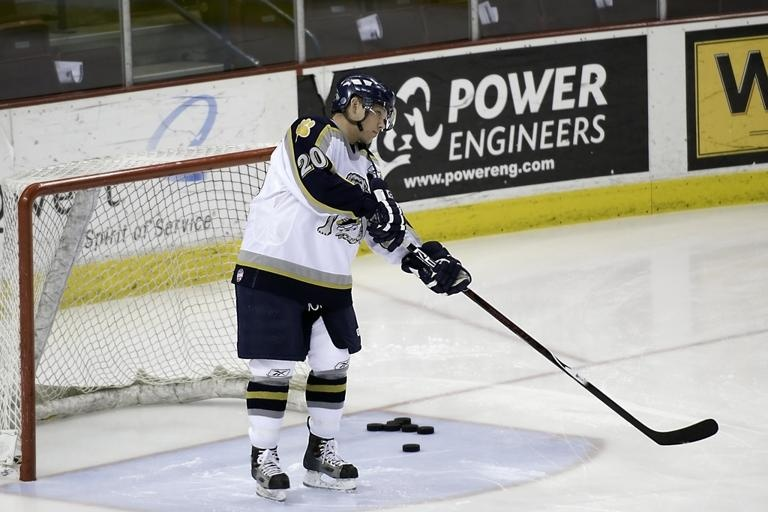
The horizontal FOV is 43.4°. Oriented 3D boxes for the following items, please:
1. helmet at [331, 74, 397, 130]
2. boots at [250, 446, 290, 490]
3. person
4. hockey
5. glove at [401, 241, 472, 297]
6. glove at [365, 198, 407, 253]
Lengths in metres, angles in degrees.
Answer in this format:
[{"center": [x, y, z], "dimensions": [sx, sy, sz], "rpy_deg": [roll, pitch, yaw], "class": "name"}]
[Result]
[{"center": [-0.077, -0.715, 4.402], "dimensions": [0.296, 0.232, 0.237], "rpy_deg": [10, 16, 17], "class": "helmet"}, {"center": [-0.541, 0.965, 4.401], "dimensions": [0.105, 0.158, 0.283], "rpy_deg": [5, 1, -33], "class": "boots"}, {"center": [-0.222, 0.136, 4.405], "dimensions": [0.941, 1.888, 0.267], "rpy_deg": [-5, 5, -10], "class": "person"}, {"center": [1.011, 0.526, 5.561], "dimensions": [1.400, 0.283, 0.199], "rpy_deg": [39, -15, 17], "class": "hockey"}, {"center": [0.246, 0.046, 4.567], "dimensions": [0.323, 0.198, 0.136], "rpy_deg": [39, 5, -2], "class": "glove"}, {"center": [-0.001, -0.140, 4.381], "dimensions": [0.192, 0.237, 0.165], "rpy_deg": [-2, 5, 24], "class": "glove"}]
